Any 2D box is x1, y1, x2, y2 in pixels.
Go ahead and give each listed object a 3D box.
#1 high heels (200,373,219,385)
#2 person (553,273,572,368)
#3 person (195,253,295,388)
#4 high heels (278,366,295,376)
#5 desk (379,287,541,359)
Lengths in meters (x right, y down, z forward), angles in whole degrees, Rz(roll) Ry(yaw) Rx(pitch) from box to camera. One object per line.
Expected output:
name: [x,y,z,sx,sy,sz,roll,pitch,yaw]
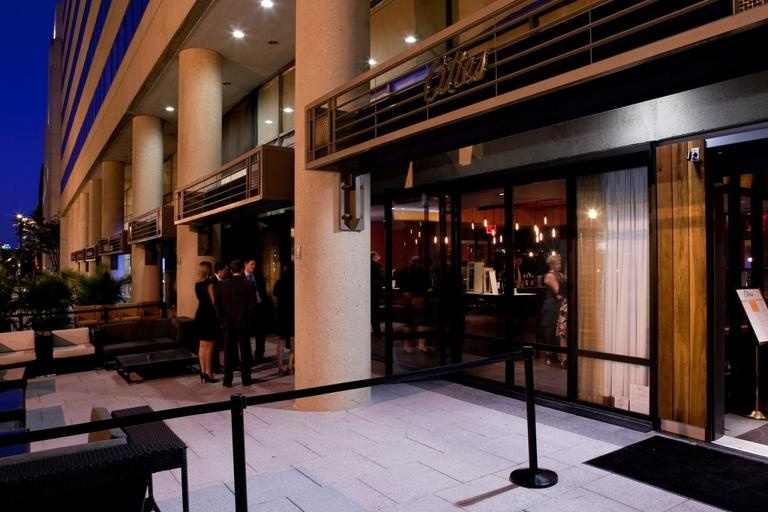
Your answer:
high heels: [-3.362,2.308,11.440,0.471,0.213,0.144,1,-2,-31]
person: [2.894,1.121,9.999,0.179,1.676,0.680,1,9,17]
person: [-2.898,1.220,11.282,0.984,2.288,1.040,-4,9,-17]
high heels: [-1.922,2.268,11.943,0.142,0.181,0.469,5,-14,-38]
desk: [1.519,1.488,11.792,1.122,1.802,3.333,9,-7,-33]
